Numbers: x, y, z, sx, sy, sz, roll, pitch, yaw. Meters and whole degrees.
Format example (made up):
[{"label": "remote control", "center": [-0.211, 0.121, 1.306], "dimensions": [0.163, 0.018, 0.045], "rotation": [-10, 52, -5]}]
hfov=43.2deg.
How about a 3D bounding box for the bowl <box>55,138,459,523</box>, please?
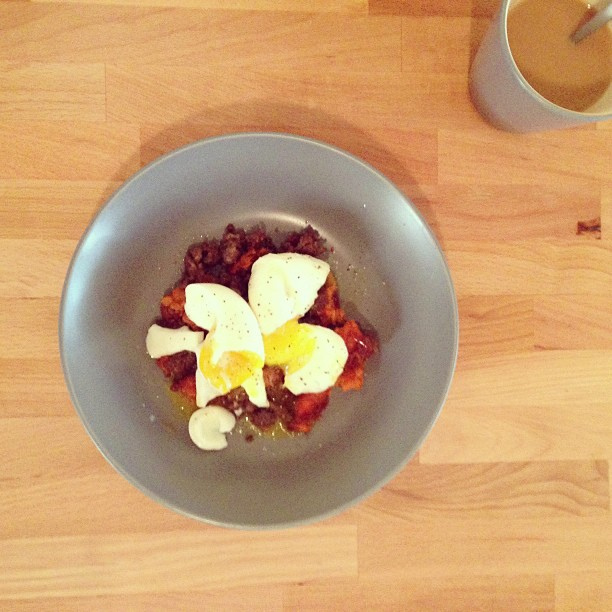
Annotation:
[{"label": "bowl", "center": [-0.078, 0.043, 1.352], "dimensions": [0.676, 0.157, 0.660], "rotation": [0, 84, -1]}]
